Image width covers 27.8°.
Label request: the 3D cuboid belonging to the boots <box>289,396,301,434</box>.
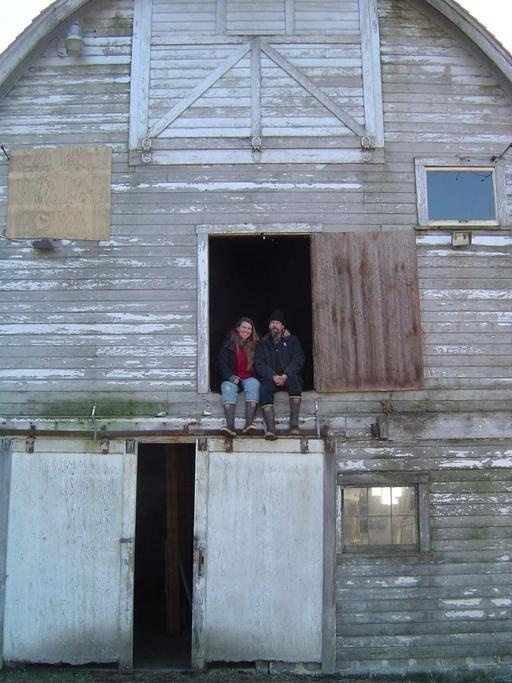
[{"bbox_3d":[0.418,0.806,11.230,0.134,0.391,0.229,-2,-9,1],"label":"boots"}]

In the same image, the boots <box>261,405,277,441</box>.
[{"bbox_3d":[0.137,0.874,11.166,0.152,0.370,0.347,-2,-9,1],"label":"boots"}]

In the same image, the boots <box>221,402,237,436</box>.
[{"bbox_3d":[-0.293,0.839,11.109,0.121,0.347,0.270,-1,-9,-2],"label":"boots"}]

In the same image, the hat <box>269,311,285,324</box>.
[{"bbox_3d":[0.239,-0.292,11.784,0.129,0.164,0.168,8,-11,3],"label":"hat"}]
